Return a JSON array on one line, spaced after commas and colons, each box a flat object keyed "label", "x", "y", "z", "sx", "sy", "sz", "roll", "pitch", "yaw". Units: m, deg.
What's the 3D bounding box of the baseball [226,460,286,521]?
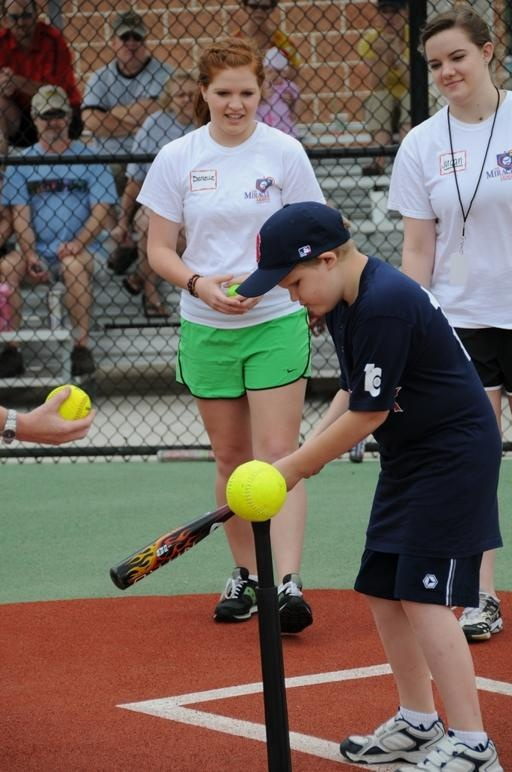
[{"label": "baseball", "x": -0.001, "y": 0.200, "z": 1.514, "sx": 0.109, "sy": 0.107, "sz": 0.174, "roll": -3, "pitch": 4, "yaw": -2}]

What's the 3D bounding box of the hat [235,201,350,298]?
[{"label": "hat", "x": 0.076, "y": -0.293, "z": 1.670, "sx": 0.249, "sy": 0.191, "sz": 0.169, "roll": -2, "pitch": 4, "yaw": 0}]

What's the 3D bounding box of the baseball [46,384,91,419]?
[{"label": "baseball", "x": -0.510, "y": 0.026, "z": 2.064, "sx": 0.109, "sy": 0.079, "sz": 0.082, "roll": 22, "pitch": -17, "yaw": 5}]
